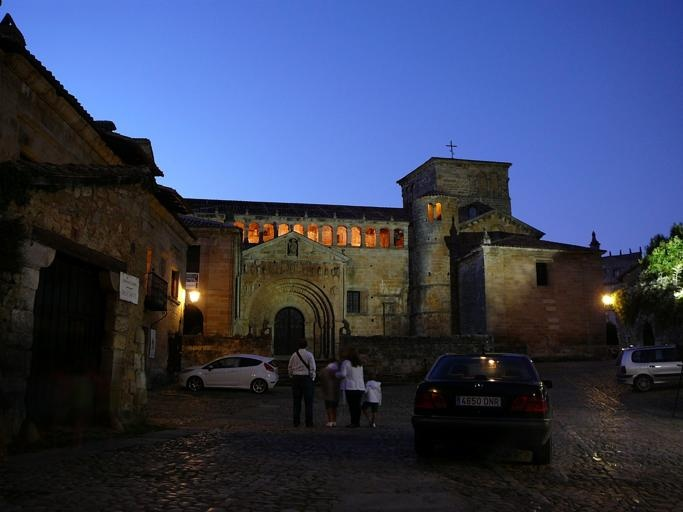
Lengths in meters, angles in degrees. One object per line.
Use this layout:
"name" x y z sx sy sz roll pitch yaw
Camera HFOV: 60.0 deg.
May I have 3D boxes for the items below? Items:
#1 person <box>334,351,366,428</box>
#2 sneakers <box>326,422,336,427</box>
"person" 0.252 3.104 14.009 0.648 1.740 1.003 1 -7 2
"sneakers" -0.239 3.876 13.676 0.154 0.170 0.395 -2 -16 1
